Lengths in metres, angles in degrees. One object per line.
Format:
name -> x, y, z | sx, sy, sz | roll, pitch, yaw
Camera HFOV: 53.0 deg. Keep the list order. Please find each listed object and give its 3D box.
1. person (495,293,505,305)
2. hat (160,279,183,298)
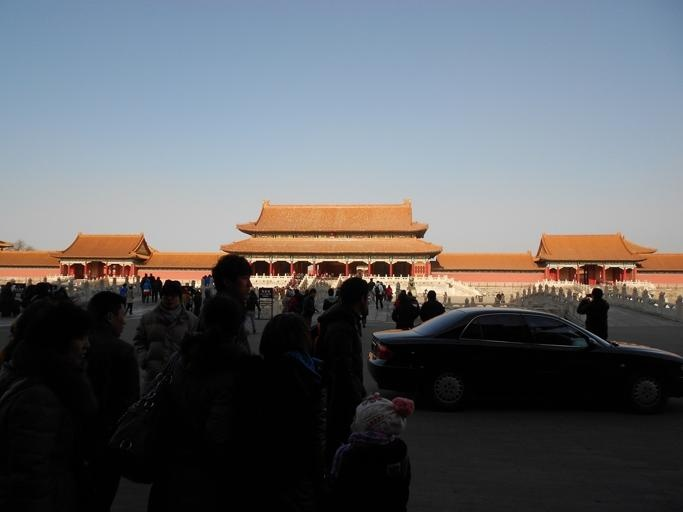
person -> 9.158, 2.470, 39.688 | 0.545, 0.868, 0.530 | -8, 11, -41
hat -> -1.486, 0.291, 5.999 | 0.135, 0.145, 0.174 | 19, -13, 8
